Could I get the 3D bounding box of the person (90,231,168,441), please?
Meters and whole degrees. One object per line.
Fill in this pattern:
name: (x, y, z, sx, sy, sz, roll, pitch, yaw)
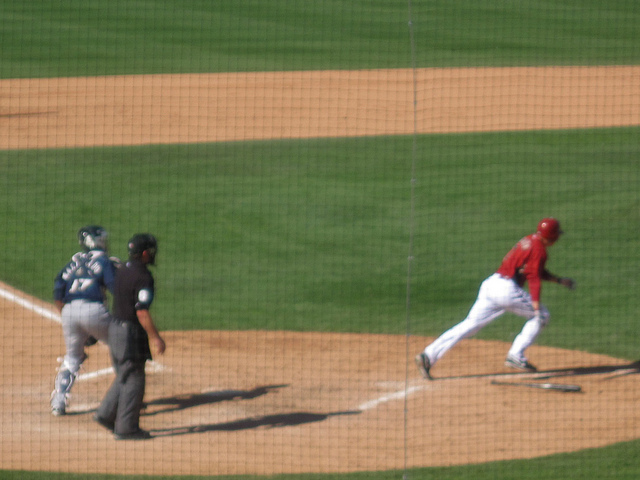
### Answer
person: (-2.727, 1.465, 24.146, 0.585, 2.985, 0.903, 6, -8, -37)
